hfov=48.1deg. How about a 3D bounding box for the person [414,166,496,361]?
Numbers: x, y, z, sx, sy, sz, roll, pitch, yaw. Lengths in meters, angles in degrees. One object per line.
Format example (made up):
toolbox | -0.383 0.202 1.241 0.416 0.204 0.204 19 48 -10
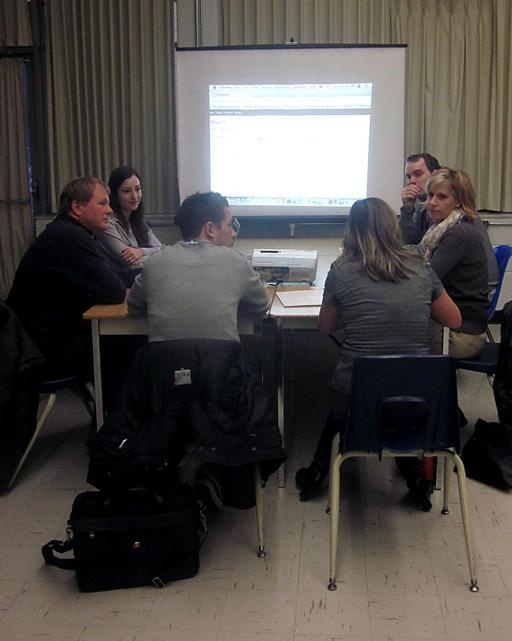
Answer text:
person | 0.904 -0.199 2.563 0.379 1.019 0.308 9 43 32

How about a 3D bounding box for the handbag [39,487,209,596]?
handbag | -0.326 0.557 1.505 0.331 0.236 0.254 0 3 -12

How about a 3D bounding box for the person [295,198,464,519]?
person | 0.420 0.139 1.838 0.502 1.041 0.594 -2 8 -10
